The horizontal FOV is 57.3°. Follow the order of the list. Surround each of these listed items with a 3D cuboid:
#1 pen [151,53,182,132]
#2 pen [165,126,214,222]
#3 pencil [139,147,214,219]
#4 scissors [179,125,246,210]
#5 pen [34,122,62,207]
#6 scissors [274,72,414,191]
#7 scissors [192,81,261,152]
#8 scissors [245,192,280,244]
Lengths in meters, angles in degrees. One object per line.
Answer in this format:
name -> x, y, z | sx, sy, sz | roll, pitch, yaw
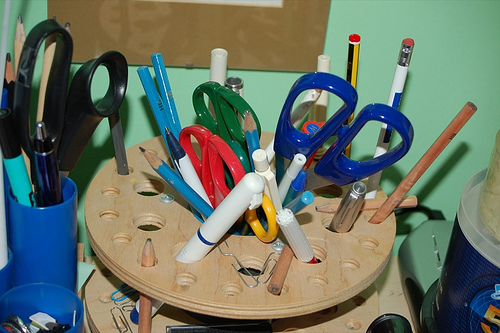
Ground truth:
pen -> -0.127, -0.109, 0.695 | 0.019, 0.122, 0.015 | -17, 12, -19
pen -> -0.084, 0.012, 0.642 | 0.019, 0.147, 0.019 | -21, 14, 31
pencil -> -0.103, 0.026, 0.654 | 0.018, 0.135, 0.017 | -45, 13, -13
scissors -> -0.051, 0.003, 0.627 | 0.021, 0.158, 0.119 | -31, 16, -27
pen -> -0.250, 0.000, 0.564 | 0.029, 0.125, 0.036 | -4, 24, -23
scissors -> 0.113, -0.051, 0.665 | 0.194, 0.196, 0.048 | 33, 50, -11
scissors -> -0.038, -0.071, 0.674 | 0.111, 0.102, 0.017 | 19, 43, 36
scissors -> 0.019, 0.076, 0.626 | 0.018, 0.068, 0.051 | -12, 69, -30
